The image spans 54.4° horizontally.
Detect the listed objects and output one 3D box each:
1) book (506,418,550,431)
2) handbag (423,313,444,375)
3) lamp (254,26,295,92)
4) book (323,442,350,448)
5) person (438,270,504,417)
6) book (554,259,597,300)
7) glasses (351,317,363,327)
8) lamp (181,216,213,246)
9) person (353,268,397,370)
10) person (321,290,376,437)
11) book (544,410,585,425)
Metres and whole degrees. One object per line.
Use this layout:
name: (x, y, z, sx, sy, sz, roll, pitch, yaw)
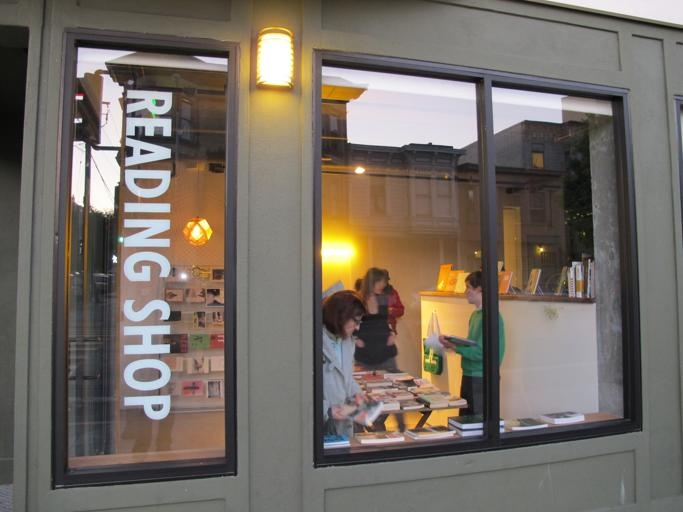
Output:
book: (1.432, 1.298, 5.133, 0.361, 0.063, 0.150, -1, -2, -25)
handbag: (0.917, 0.888, 6.602, 0.096, 0.671, 0.291, 10, -28, -9)
lamp: (-0.460, -1.377, 4.709, 0.301, 0.420, 0.273, 1, 12, -9)
book: (-0.037, 1.344, 4.747, 0.192, 0.048, 0.042, -1, -2, -17)
person: (1.011, 0.681, 5.457, 0.278, 1.110, 0.817, -2, -2, 9)
book: (2.069, 0.219, 5.822, 0.263, 0.448, 0.292, 1, -2, 26)
glasses: (0.125, 0.516, 5.207, 0.057, 0.093, 0.090, 7, 0, -6)
lamp: (-1.005, -0.171, 4.643, 0.177, 0.192, 0.195, 3, -18, -2)
person: (0.354, 0.938, 7.097, 0.444, 1.696, 0.441, 1, 12, 11)
person: (0.023, 0.800, 4.995, 0.447, 1.066, 0.279, -1, -3, -23)
book: (1.781, 1.286, 5.285, 0.378, 0.067, 0.193, -1, -2, -25)
